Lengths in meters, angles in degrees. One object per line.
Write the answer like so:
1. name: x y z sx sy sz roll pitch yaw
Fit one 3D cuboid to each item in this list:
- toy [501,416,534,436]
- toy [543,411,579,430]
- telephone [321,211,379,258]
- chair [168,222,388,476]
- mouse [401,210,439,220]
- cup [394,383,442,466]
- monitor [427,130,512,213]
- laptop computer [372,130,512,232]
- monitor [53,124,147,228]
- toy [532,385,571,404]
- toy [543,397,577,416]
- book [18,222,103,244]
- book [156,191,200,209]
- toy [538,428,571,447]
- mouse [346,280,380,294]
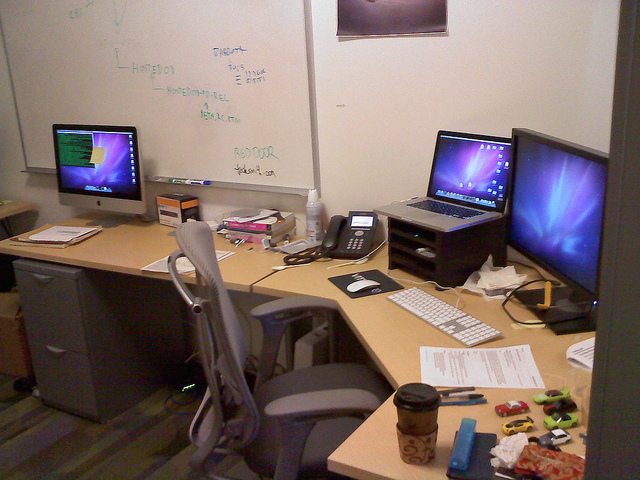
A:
1. toy: 0.453 0.424 1.143 0.055 0.017 0.031 -3 7 -10
2. toy: 0.561 0.417 1.156 0.066 0.020 0.035 0 18 -1
3. telephone: 0.141 -0.025 2.256 0.247 0.082 0.275 -2 39 15
4. chair: -0.125 0.355 1.780 0.668 0.899 0.650 -10 34 -5
5. mouse: 0.394 -0.098 1.966 0.086 0.004 0.125 -15 21 -32
6. cup: 0.212 0.398 1.085 0.111 0.146 0.108 -5 13 1
7. monitor: 0.502 -0.253 1.962 0.267 0.294 0.444 -10 18 -28
8. laptop computer: 0.486 -0.239 1.955 0.341 0.321 0.442 -17 22 -35
9. monitor: -1.197 -0.363 2.732 0.589 0.512 0.203 4 12 20
10. toy: 0.572 0.384 1.233 0.074 0.025 0.038 -3 13 -4
11. toy: 0.580 0.397 1.205 0.073 0.023 0.034 -5 24 -5
12. book: -1.395 -0.035 2.633 0.400 0.034 0.302 2 18 15
13. book: -0.786 -0.212 2.740 0.205 0.076 0.164 7 21 30
14. toy: 0.523 0.438 1.113 0.068 0.019 0.029 -7 30 -12
15. mouse: 0.151 0.168 1.873 0.093 0.021 0.053 -15 24 -21
